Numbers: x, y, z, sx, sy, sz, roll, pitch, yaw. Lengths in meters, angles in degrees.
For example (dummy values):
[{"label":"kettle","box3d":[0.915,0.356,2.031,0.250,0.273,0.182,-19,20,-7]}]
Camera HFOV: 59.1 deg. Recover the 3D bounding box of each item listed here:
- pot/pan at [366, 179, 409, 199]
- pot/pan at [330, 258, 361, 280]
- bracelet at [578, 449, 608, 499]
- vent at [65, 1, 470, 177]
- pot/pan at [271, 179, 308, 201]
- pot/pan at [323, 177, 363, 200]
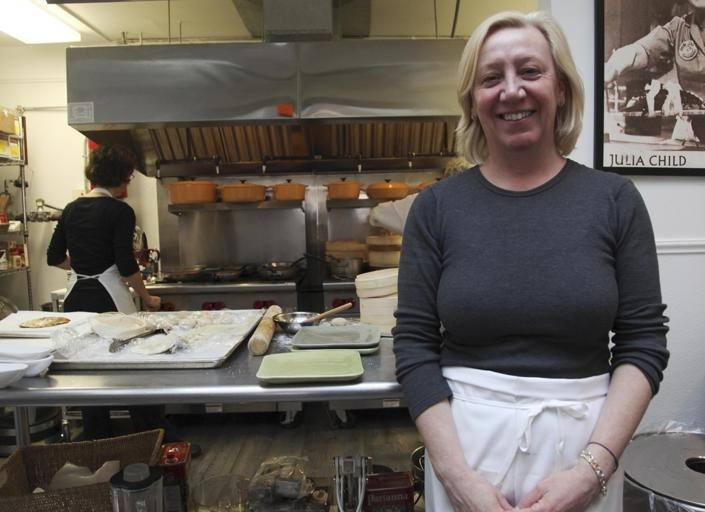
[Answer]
[{"label":"pot/pan","box3d":[0.272,-0.532,5.073,0.244,0.071,0.184,0,-2,-21]},{"label":"pot/pan","box3d":[-0.051,0.091,4.866,0.214,0.106,0.204,-3,4,-35]},{"label":"bracelet","box3d":[0.790,0.702,2.028,0.055,0.131,0.116,-18,-11,-14]},{"label":"vent","box3d":[-0.439,-1.175,5.223,2.930,0.518,1.839,-2,-4,-4]},{"label":"pot/pan","box3d":[-0.518,-0.521,5.060,0.251,0.126,0.179,0,-1,-1]},{"label":"pot/pan","box3d":[-0.074,-0.558,5.206,0.253,0.168,0.317,2,13,3]}]
